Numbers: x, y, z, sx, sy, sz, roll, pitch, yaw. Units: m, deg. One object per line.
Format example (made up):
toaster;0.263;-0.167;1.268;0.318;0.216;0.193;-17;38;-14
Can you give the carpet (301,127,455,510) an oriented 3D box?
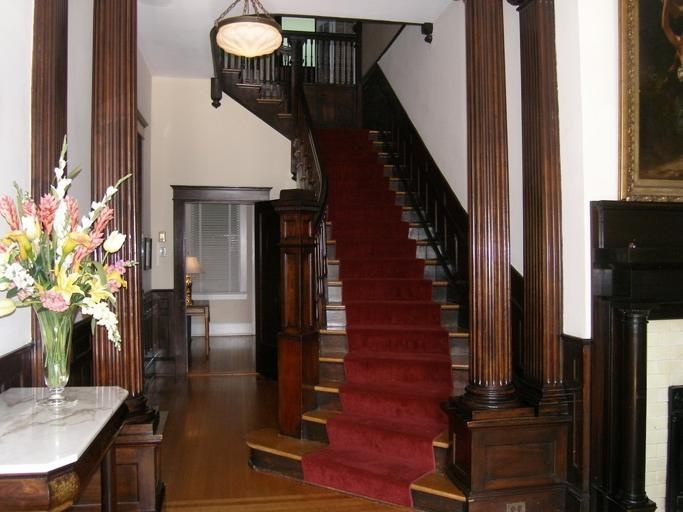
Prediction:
carpet;0.405;0.397;6.092;1.179;2.527;3.617;1;5;1
